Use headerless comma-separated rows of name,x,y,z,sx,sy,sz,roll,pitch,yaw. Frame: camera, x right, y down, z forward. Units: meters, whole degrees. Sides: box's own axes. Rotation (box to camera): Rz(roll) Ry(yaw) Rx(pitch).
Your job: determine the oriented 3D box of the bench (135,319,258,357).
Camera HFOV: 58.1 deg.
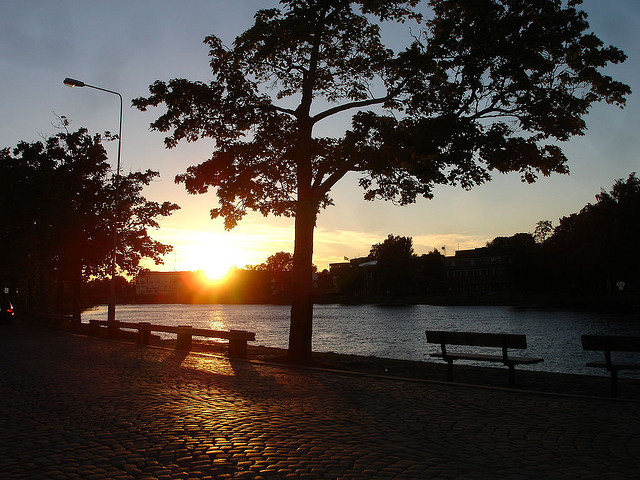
bench,-4.676,3.478,20.522,5.089,0.891,0.360,2,2,21
